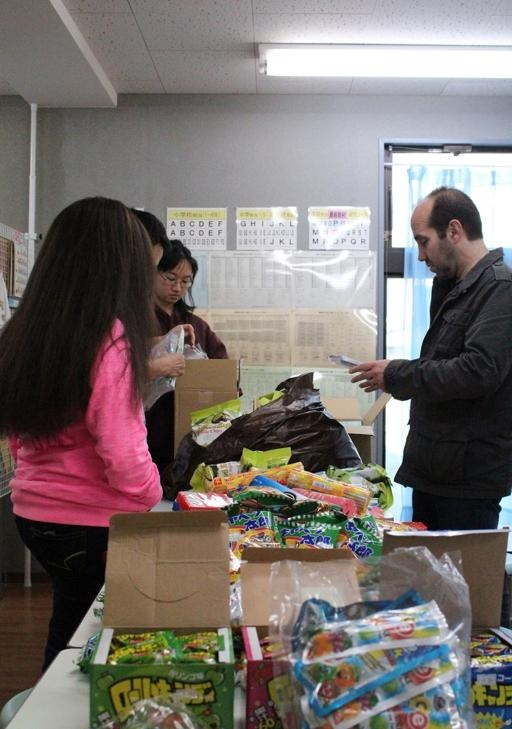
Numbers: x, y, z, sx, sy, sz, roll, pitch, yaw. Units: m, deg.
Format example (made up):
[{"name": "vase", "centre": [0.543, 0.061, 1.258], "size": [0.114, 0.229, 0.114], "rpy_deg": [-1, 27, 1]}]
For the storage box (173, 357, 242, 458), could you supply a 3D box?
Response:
[{"name": "storage box", "centre": [-0.212, 0.131, 2.254], "size": [0.288, 0.354, 0.271], "rpy_deg": [11, 24, 16]}]

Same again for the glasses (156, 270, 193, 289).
[{"name": "glasses", "centre": [-0.350, -0.360, 2.431], "size": [0.118, 0.036, 0.114], "rpy_deg": [2, 13, -25]}]
